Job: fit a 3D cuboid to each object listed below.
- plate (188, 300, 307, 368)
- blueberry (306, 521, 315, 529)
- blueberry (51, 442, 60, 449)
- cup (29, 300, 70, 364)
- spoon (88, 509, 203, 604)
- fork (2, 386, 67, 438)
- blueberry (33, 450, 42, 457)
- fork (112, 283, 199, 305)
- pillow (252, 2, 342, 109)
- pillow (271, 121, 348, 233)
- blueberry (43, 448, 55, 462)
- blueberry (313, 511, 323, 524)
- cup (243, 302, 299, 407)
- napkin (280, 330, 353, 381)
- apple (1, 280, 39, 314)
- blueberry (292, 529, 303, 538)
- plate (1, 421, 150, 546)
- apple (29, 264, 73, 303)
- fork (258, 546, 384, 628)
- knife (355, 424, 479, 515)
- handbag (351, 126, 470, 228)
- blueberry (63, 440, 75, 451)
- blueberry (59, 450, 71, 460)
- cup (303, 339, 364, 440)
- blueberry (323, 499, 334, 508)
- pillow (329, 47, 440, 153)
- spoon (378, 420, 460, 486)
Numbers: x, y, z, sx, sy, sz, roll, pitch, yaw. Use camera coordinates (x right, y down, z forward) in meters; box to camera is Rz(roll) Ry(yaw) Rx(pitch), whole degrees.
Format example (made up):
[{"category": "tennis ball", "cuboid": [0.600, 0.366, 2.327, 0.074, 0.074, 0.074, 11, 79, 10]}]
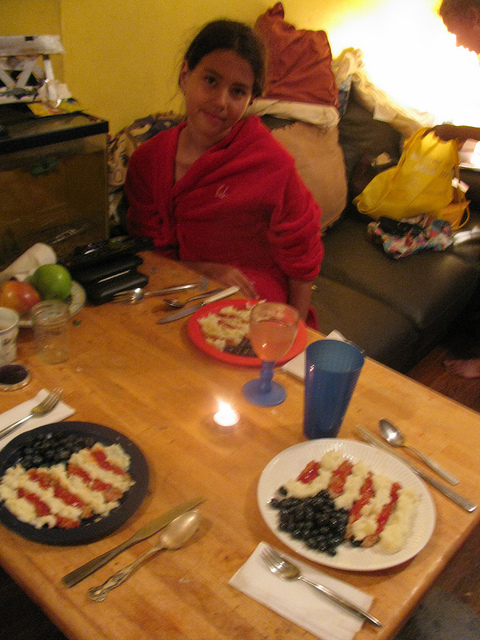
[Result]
[{"category": "plate", "cuboid": [0.002, 0.042, 0.988, 0.176, 0.022, 0.163, 8, 34, 3]}, {"category": "blueberry", "cuboid": [0.088, 0.255, 0.622, 0.008, 0.004, 0.008, -10, 8, -18]}, {"category": "blueberry", "cuboid": [-0.261, 0.178, 0.705, 0.008, 0.005, 0.007, 4, 5, 15]}, {"category": "cup", "cuboid": [-0.365, 0.031, 0.964, 0.070, 0.099, 0.065, 6, 8, -1]}, {"category": "spoon", "cuboid": [-0.093, 0.274, 0.649, 0.039, 0.028, 0.221, 34, 37, 28]}, {"category": "fork", "cuboid": [-0.317, 0.138, 0.816, 0.019, 0.016, 0.142, 30, 48, 25]}, {"category": "blueberry", "cuboid": [-0.283, 0.185, 0.694, 0.012, 0.007, 0.006, -1, 1, 1]}, {"category": "fork", "cuboid": [-0.204, -0.072, 1.183, 0.209, 0.025, 0.064, -19, 37, -32]}, {"category": "pillow", "cuboid": [0.291, -1.307, 2.464, 0.445, 0.444, 0.511, 2, 32, -1]}, {"category": "pillow", "cuboid": [0.352, -0.689, 2.427, 0.379, 0.488, 0.221, -20, 39, -32]}, {"category": "blueberry", "cuboid": [-0.264, 0.188, 0.691, 0.012, 0.014, 0.007, 31, -14, -14]}, {"category": "blueberry", "cuboid": [0.099, 0.250, 0.630, 0.004, 0.009, 0.011, 35, 44, 3]}, {"category": "cup", "cuboid": [0.055, 0.047, 0.885, 0.085, 0.168, 0.158, 7, 32, 6]}, {"category": "napkin", "cuboid": [0.136, 0.075, 0.931, 0.088, 0.010, 0.147, 33, 52, 29]}, {"category": "apple", "cuboid": [-0.451, -0.047, 1.013, 0.079, 0.062, 0.067, 0, 14, 34]}, {"category": "blueberry", "cuboid": [0.071, 0.262, 0.614, 0.012, 0.005, 0.009, 2, 31, -2]}, {"category": "plate", "cuboid": [-0.225, 0.204, 0.671, 0.189, 0.017, 0.219, -15, 35, -28]}, {"category": "apple", "cuboid": [-0.406, -0.086, 1.076, 0.075, 0.085, 0.081, -13, -6, 35]}, {"category": "fork", "cuboid": [0.093, 0.308, 0.571, 0.131, 0.014, 0.021, 24, 29, 33]}, {"category": "knife", "cuboid": [0.262, 0.228, 0.749, 0.021, 0.013, 0.168, -29, 47, -28]}, {"category": "handbag", "cuboid": [0.837, -0.691, 2.525, 0.519, 0.514, 0.205, 39, 28, -10]}, {"category": "blueberry", "cuboid": [-0.245, 0.178, 0.709, 0.013, 0.007, 0.012, 5, 43, -6]}, {"category": "blueberry", "cuboid": [-0.244, 0.188, 0.696, 0.013, 0.006, 0.010, 18, 18, 34]}, {"category": "cup", "cuboid": [0.138, 0.114, 0.785, 0.084, 0.165, 0.091, 2, 33, -1]}, {"category": "blueberry", "cuboid": [0.119, 0.241, 0.659, 0.009, 0.004, 0.012, 4, 12, -2]}, {"category": "pillow", "cuboid": [0.689, -1.142, 2.594, 0.537, 0.442, 0.312, 25, 39, 32]}, {"category": "spoon", "cuboid": [0.278, 0.211, 0.780, 0.033, 0.022, 0.168, -19, 29, -18]}]
